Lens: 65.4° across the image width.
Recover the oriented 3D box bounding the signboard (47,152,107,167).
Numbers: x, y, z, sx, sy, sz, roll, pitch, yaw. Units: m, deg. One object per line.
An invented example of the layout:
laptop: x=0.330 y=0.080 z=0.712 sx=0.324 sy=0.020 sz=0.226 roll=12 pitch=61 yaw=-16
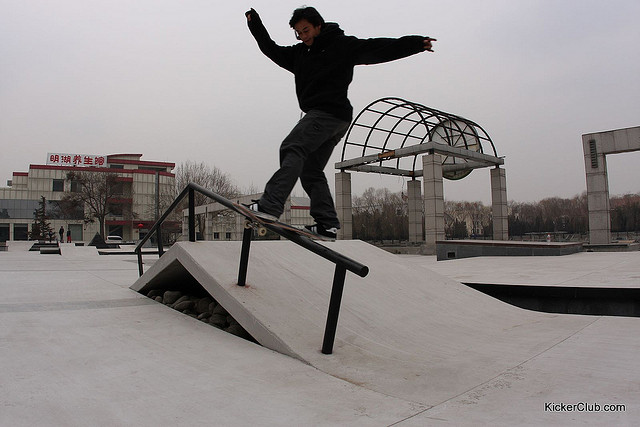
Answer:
signboard: x=-28.128 y=-6.054 z=57.522 sx=6.068 sy=1.520 sz=1.591 roll=0 pitch=-3 yaw=-16

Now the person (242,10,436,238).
person: x=0.029 y=-0.960 z=5.177 sx=1.540 sy=2.431 sz=0.809 roll=0 pitch=-2 yaw=-8
